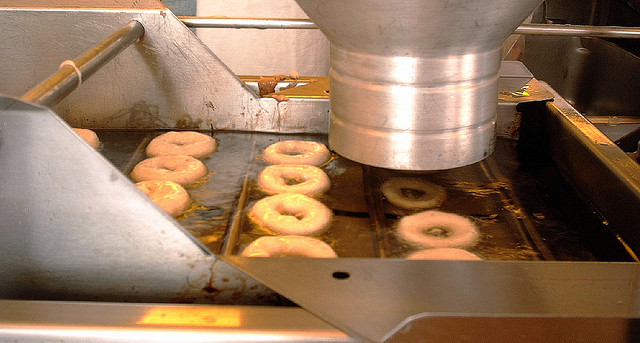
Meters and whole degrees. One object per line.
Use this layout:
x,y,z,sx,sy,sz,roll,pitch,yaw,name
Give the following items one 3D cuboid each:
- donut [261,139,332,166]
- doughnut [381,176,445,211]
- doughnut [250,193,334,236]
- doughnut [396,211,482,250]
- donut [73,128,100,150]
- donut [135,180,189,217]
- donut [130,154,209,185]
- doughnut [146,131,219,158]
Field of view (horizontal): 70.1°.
-0.079,-0.058,1.578,0.259,0.071,0.235,1,2,1,donut
0.271,0.065,1.323,0.176,0.017,0.135,-2,34,4,doughnut
-0.074,0.122,1.249,0.181,0.037,0.201,-25,39,-27,doughnut
0.310,0.153,1.203,0.224,0.019,0.140,-3,34,3,doughnut
-0.597,-0.083,1.168,0.089,0.025,0.084,5,15,-35,donut
-0.450,0.061,1.295,0.119,0.030,0.117,18,15,33,donut
-0.467,-0.001,1.439,0.215,0.055,0.198,9,25,9,donut
-0.455,-0.091,1.529,0.231,0.038,0.144,1,35,8,doughnut
